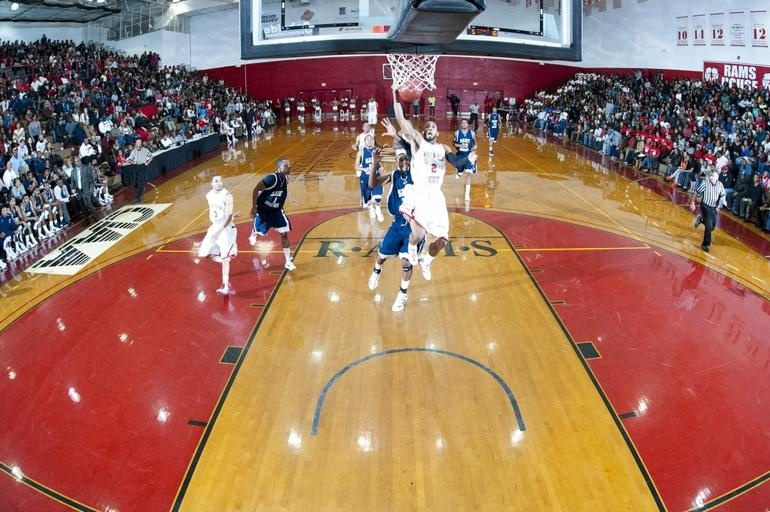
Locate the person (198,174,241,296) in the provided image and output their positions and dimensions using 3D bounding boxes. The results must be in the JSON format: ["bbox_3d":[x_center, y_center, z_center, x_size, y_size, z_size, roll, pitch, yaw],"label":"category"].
[{"bbox_3d":[-3.345,-0.472,10.073,0.708,2.291,0.971,-7,22,-19],"label":"person"}]

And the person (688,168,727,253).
[{"bbox_3d":[7.763,-1.231,12.184,0.613,1.814,1.462,14,25,33],"label":"person"}]

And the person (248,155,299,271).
[{"bbox_3d":[-2.395,-0.799,10.564,1.105,2.310,0.743,-18,27,-40],"label":"person"}]

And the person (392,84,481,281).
[{"bbox_3d":[0.713,-1.009,9.053,1.108,3.255,0.686,3,20,7],"label":"person"}]

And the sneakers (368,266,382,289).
[{"bbox_3d":[-0.207,0.456,10.100,0.118,0.402,0.265,15,14,9],"label":"sneakers"}]
